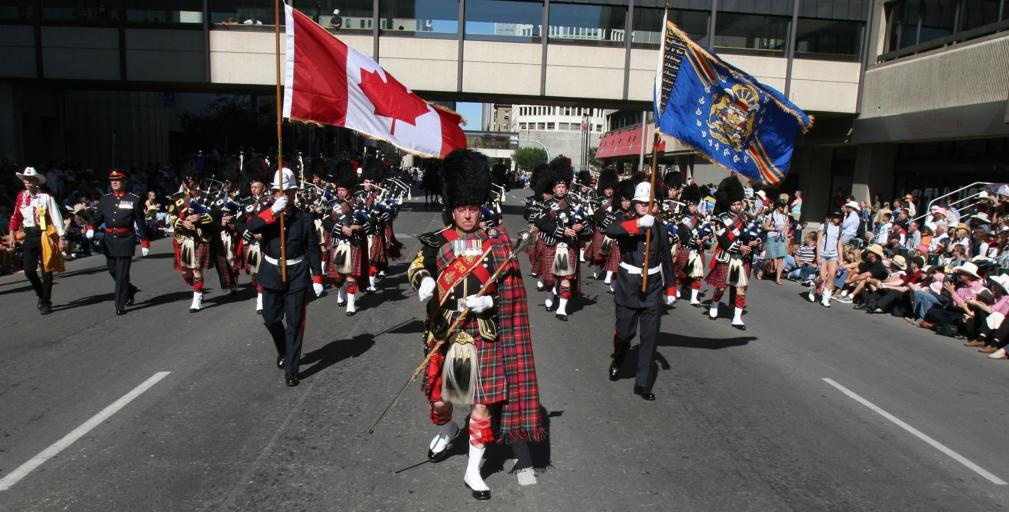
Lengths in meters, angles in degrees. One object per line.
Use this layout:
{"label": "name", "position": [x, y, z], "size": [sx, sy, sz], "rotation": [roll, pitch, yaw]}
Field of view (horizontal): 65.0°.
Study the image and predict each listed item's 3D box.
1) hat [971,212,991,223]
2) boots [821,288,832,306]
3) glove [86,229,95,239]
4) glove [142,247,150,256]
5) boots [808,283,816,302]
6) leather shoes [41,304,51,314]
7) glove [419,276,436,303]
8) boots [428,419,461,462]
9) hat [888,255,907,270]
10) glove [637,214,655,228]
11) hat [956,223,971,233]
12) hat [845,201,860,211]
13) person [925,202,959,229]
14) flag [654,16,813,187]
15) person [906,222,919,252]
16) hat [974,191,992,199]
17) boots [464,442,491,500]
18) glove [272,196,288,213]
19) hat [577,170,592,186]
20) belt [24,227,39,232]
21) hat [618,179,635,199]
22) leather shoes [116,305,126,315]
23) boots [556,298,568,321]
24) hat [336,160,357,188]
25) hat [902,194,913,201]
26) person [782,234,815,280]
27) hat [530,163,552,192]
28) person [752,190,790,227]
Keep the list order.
{"label": "hat", "position": [15.425, -1.212, 25.634], "size": [0.487, 0.148, 0.476], "rotation": [-3, 15, 5]}
{"label": "boots", "position": [10.541, 1.343, 25.919], "size": [0.261, 0.572, 0.550], "rotation": [5, 11, 20]}
{"label": "glove", "position": [-12.243, -0.639, 23.553], "size": [0.273, 0.347, 0.128], "rotation": [0, -8, -2]}
{"label": "glove", "position": [-11.907, -0.136, 26.376], "size": [0.321, 0.121, 0.236], "rotation": [21, 12, 29]}
{"label": "boots", "position": [10.384, 1.265, 26.682], "size": [0.190, 0.586, 0.254], "rotation": [3, -25, 36]}
{"label": "leather shoes", "position": [-13.266, 1.551, 22.997], "size": [0.254, 0.283, 0.205], "rotation": [-5, 12, -29]}
{"label": "glove", "position": [-1.766, 0.776, 18.039], "size": [0.192, 0.515, 0.454], "rotation": [10, -18, -35]}
{"label": "boots", "position": [-1.394, 4.345, 18.730], "size": [0.460, 1.172, 0.509], "rotation": [35, 11, 22]}
{"label": "hat", "position": [12.725, 0.252, 25.548], "size": [0.407, 0.163, 0.441], "rotation": [11, 22, -25]}
{"label": "glove", "position": [3.639, -0.861, 20.199], "size": [0.377, 0.270, 0.147], "rotation": [18, -4, -19]}
{"label": "hat", "position": [14.399, -0.872, 24.817], "size": [0.438, 0.149, 0.393], "rotation": [6, -4, -43]}
{"label": "hat", "position": [12.937, -1.860, 29.454], "size": [0.693, 0.200, 0.683], "rotation": [1, -2, 16]}
{"label": "person", "position": [15.045, -1.359, 27.144], "size": [1.298, 0.406, 0.375], "rotation": [-9, 40, -10]}
{"label": "flag", "position": [5.934, -3.978, 21.292], "size": [4.144, 4.106, 0.702], "rotation": [-2, 11, -16]}
{"label": "person", "position": [13.868, -0.705, 26.796], "size": [0.396, 0.797, 0.818], "rotation": [7, 12, 26]}
{"label": "hat", "position": [16.349, -2.055, 27.039], "size": [0.472, 0.105, 0.454], "rotation": [-2, 1, 8]}
{"label": "boots", "position": [-0.598, 4.866, 18.235], "size": [0.614, 1.226, 0.715], "rotation": [1, 11, -2]}
{"label": "glove", "position": [-5.631, -1.292, 19.980], "size": [0.394, 0.413, 0.226], "rotation": [-2, 11, -17]}
{"label": "hat", "position": [2.956, -2.850, 29.087], "size": [0.489, 0.496, 0.667], "rotation": [2, 0, 6]}
{"label": "belt", "position": [-13.839, -0.756, 23.270], "size": [0.374, 0.121, 0.016], "rotation": [1, 11, -3]}
{"label": "hat", "position": [3.905, -2.117, 25.372], "size": [0.469, 0.610, 0.286], "rotation": [0, 1, 3]}
{"label": "leather shoes", "position": [-11.116, 1.604, 23.077], "size": [0.185, 0.288, 0.287], "rotation": [11, 15, -23]}
{"label": "boots", "position": [1.743, 1.574, 23.737], "size": [0.363, 0.635, 0.446], "rotation": [2, 11, 5]}
{"label": "hat", "position": [-4.819, -2.529, 24.181], "size": [0.589, 0.273, 0.895], "rotation": [-13, 52, -18]}
{"label": "hat", "position": [15.885, -2.274, 31.147], "size": [0.582, 0.222, 0.637], "rotation": [0, -1, 20]}
{"label": "person", "position": [10.611, 0.128, 28.597], "size": [0.941, 1.454, 1.202], "rotation": [-6, 24, -19]}
{"label": "hat", "position": [1.208, -2.497, 25.473], "size": [0.743, 0.917, 0.449], "rotation": [-2, -3, 3]}
{"label": "person", "position": [9.709, -1.670, 28.835], "size": [1.444, 1.854, 0.581], "rotation": [8, -18, -4]}
